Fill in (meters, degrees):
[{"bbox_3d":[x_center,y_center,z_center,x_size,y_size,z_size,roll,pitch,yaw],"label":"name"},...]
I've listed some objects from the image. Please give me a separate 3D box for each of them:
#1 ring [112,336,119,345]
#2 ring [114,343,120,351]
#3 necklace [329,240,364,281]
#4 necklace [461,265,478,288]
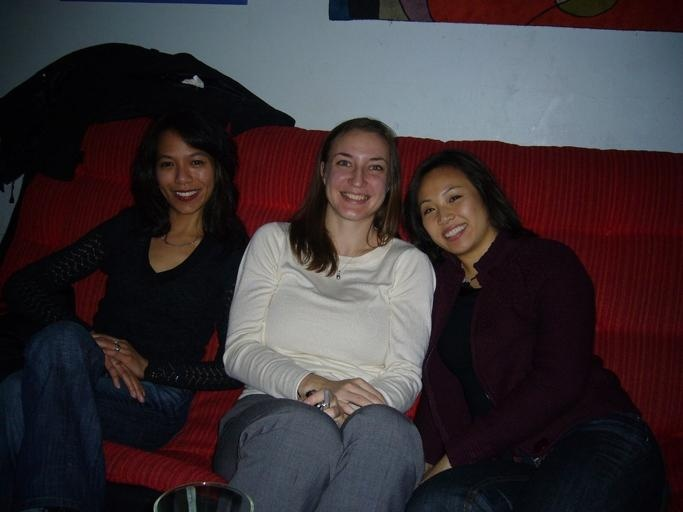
[{"bbox_3d":[-0.802,0.300,1.992,0.020,0.007,0.020,19,42,-19],"label":"ring"},{"bbox_3d":[-0.793,0.322,1.984,0.017,0.025,0.007,-3,-3,8],"label":"ring"},{"bbox_3d":[-0.003,0.014,2.020,0.078,0.115,0.037,6,-23,-21],"label":"necklace"},{"bbox_3d":[0.462,0.074,2.013,0.034,0.083,0.085,2,18,1],"label":"necklace"}]
